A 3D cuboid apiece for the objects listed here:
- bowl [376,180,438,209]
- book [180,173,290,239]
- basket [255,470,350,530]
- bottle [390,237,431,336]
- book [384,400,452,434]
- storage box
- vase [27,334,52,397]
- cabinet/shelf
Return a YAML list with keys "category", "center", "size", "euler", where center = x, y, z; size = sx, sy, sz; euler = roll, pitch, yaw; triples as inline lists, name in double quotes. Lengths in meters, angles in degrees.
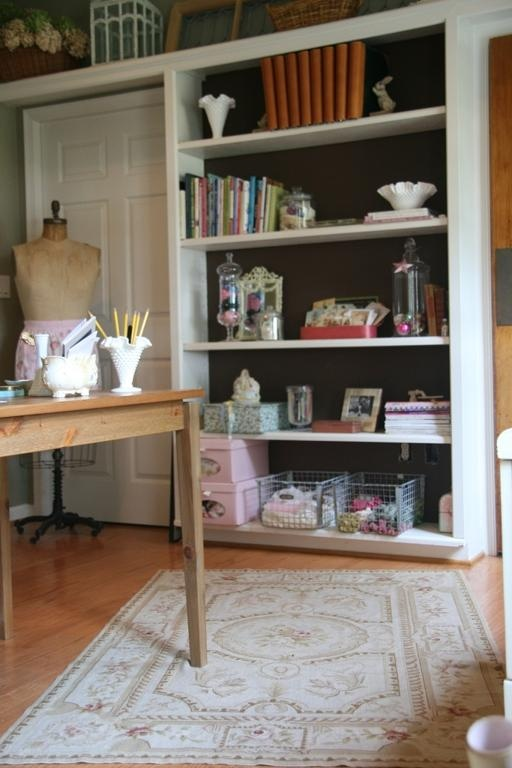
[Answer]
- category: "bowl"
  center: [0.649, -0.803, 2.715]
  size: [0.163, 0.071, 0.170]
  euler: [-5, 7, 1]
- category: "book"
  center: [-0.086, -0.795, 3.217]
  size: [0.378, 0.482, 0.392]
  euler: [3, 5, 24]
- category: "basket"
  center: [0.180, 0.547, 2.995]
  size: [0.293, 0.178, 0.295]
  euler: [-1, 0, 35]
- category: "bottle"
  center: [0.664, -0.421, 2.768]
  size: [0.146, 0.422, 0.187]
  euler: [1, 8, 20]
- category: "book"
  center: [0.687, 0.143, 2.704]
  size: [0.208, 0.101, 0.156]
  euler: [-1, -2, 16]
- category: "storage box"
  center: [-0.075, 0.431, 3.126]
  size: [0.370, 0.408, 0.422]
  euler: [0, 1, 22]
- category: "vase"
  center: [-0.514, -0.048, 1.515]
  size: [0.050, 0.134, 0.329]
  euler: [-4, 7, -19]
- category: "cabinet/shelf"
  center: [0.296, -0.423, 2.952]
  size: [1.603, 2.328, 0.541]
  euler: [2, 8, 26]
